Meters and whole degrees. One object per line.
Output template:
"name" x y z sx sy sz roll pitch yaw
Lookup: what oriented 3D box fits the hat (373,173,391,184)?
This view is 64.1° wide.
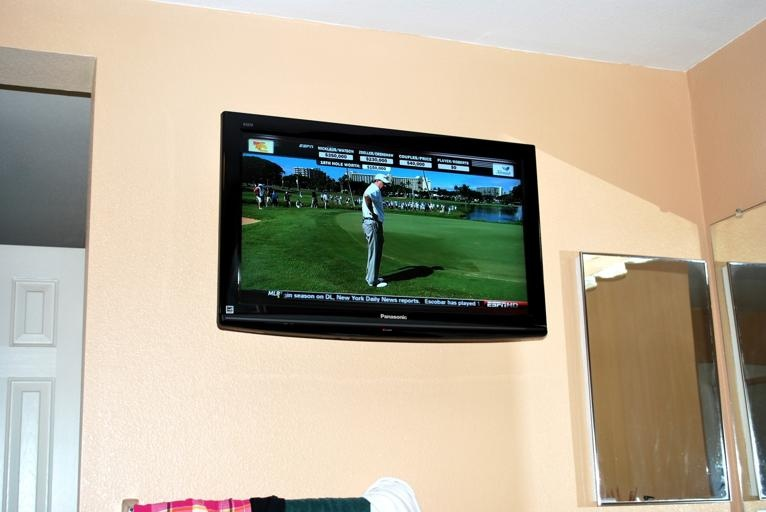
"hat" 0.004 -0.343 2.743 0.063 0.031 0.043 -5 2 -6

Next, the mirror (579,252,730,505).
"mirror" 1.275 0.564 2.890 0.692 1.132 0.030 3 -10 -10
